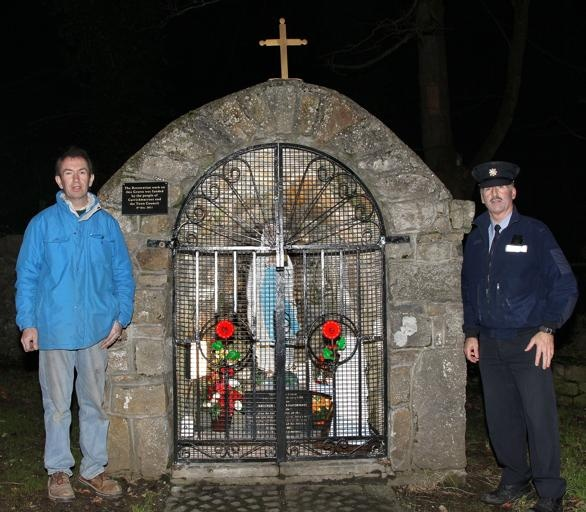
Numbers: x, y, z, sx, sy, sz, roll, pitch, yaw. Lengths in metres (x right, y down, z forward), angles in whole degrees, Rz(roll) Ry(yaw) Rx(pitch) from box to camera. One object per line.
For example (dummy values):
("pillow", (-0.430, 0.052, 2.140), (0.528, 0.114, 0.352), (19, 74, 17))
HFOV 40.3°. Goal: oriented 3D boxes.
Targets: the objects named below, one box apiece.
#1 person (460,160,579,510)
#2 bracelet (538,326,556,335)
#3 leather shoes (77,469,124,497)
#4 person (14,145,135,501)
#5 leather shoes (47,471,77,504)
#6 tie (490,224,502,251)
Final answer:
("person", (1.709, 0.583, 6.075), (0.551, 2.566, 1.028), (-5, 11, -30))
("bracelet", (1.888, 0.536, 5.909), (0.112, 0.066, 0.133), (4, 10, 20))
("leather shoes", (-1.438, 1.739, 6.138), (0.370, 0.142, 0.147), (18, 4, 16))
("person", (-1.636, 0.508, 6.085), (0.878, 2.610, 0.647), (-3, 10, -19))
("leather shoes", (-1.759, 1.729, 6.022), (0.238, 0.230, 0.154), (1, 10, 2))
("tie", (1.564, -0.152, 6.121), (0.052, 0.229, 0.037), (6, -18, 20))
